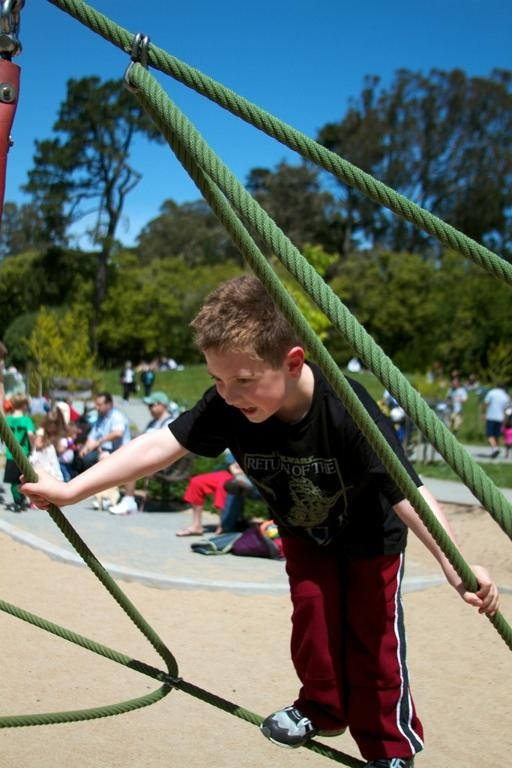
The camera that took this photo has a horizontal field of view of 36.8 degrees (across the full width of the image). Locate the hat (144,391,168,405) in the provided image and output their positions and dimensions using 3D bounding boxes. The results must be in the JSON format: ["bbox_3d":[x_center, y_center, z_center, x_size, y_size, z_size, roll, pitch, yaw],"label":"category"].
[{"bbox_3d":[-0.771,0.113,5.995,0.155,0.067,0.092,3,-6,-10],"label":"hat"}]

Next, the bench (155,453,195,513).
[{"bbox_3d":[-0.604,0.680,5.639,0.342,0.371,0.331,3,-4,-21],"label":"bench"}]

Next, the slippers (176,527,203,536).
[{"bbox_3d":[-0.191,0.432,2.225,0.077,0.027,0.028,15,-28,-32],"label":"slippers"}]

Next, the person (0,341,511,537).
[{"bbox_3d":[0.130,0.255,3.111,2.189,0.840,0.787,-1,14,32],"label":"person"}]

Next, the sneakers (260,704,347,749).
[{"bbox_3d":[0.112,0.800,1.816,0.208,0.078,0.075,14,20,-23],"label":"sneakers"}]
